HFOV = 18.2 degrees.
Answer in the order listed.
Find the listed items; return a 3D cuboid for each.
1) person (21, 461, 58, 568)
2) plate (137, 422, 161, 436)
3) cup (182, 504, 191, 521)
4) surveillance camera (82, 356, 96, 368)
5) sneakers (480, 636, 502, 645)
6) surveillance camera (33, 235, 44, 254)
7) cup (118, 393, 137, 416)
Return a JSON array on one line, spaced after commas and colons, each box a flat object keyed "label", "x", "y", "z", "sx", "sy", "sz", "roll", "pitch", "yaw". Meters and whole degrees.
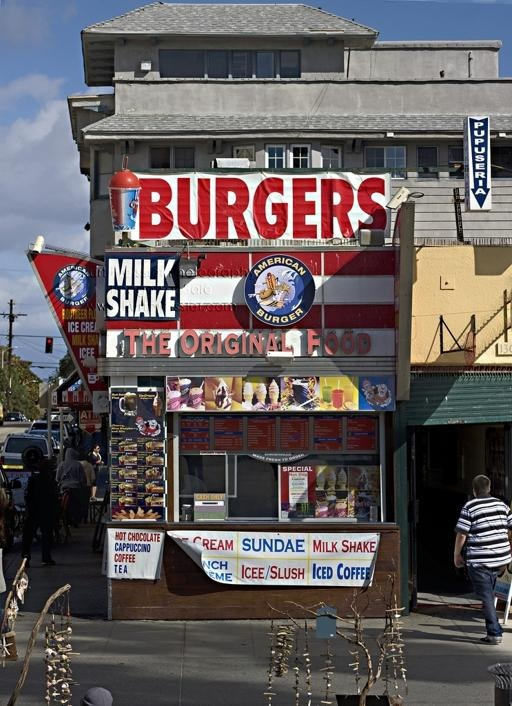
[{"label": "person", "x": -3.134, "y": 2.272, "z": 23.486, "sx": 0.424, "sy": 1.607, "sz": 0.412, "roll": 4, "pitch": 21, "yaw": -6}, {"label": "plate", "x": -1.277, "y": 0.924, "z": 19.367, "sx": 0.169, "sy": 0.102, "sz": 0.223, "roll": -3, "pitch": 7, "yaw": -32}, {"label": "cup", "x": -0.828, "y": 1.939, "z": 19.383, "sx": 0.145, "sy": 0.211, "sz": 0.116, "roll": 2, "pitch": -7, "yaw": 2}, {"label": "surveillance camera", "x": -2.336, "y": 0.129, "z": 22.563, "sx": 0.188, "sy": 0.203, "sz": 0.046, "roll": -6, "pitch": 2, "yaw": -33}, {"label": "sneakers", "x": 2.647, "y": 3.249, "z": 18.101, "sx": 0.088, "sy": 0.117, "sz": 0.248, "roll": -1, "pitch": 1, "yaw": -31}, {"label": "surveillance camera", "x": -2.979, "y": -1.490, "z": 22.169, "sx": 0.205, "sy": 0.214, "sz": 0.178, "roll": 2, "pitch": -5, "yaw": -27}, {"label": "cup", "x": -1.538, "y": 0.632, "z": 19.397, "sx": 0.160, "sy": 0.268, "sz": 0.082, "roll": 0, "pitch": -1, "yaw": -2}]
